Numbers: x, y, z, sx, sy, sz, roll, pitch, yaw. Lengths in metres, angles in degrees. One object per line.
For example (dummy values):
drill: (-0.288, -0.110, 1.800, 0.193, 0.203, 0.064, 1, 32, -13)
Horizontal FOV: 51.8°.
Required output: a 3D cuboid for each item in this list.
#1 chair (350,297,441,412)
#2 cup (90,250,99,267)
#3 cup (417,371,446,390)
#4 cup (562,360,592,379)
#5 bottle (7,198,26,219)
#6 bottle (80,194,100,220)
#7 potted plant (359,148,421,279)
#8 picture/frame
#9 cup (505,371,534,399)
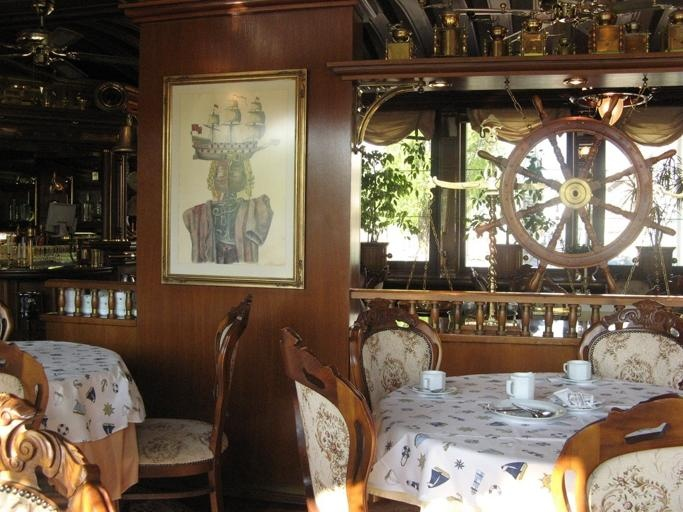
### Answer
chair: (0.228, 0.417, 3.016, 0.353, 0.621, 0.422, 1, -3, -25)
cup: (-2.290, 0.024, 6.540, 0.072, 0.161, 0.397, -1, 1, -20)
cup: (0.343, 0.462, 2.596, 0.059, 0.058, 0.082, 3, 5, 37)
cup: (0.938, 0.441, 2.761, 0.089, 0.067, 0.070, -2, -4, 15)
bottle: (-4.655, -0.658, 10.082, 0.329, 0.291, 0.112, 0, 1, 13)
bottle: (-3.584, -0.696, 9.993, 0.332, 0.413, 0.200, 0, 1, -4)
potted plant: (0.506, -0.492, 6.535, 0.598, 1.346, 1.702, 0, 1, 8)
picture/frame: (-0.498, -0.393, 3.515, 0.974, 1.426, 0.064, 2, 3, 16)
cup: (0.654, 0.457, 2.504, 0.101, 0.094, 0.064, -1, 4, -37)
